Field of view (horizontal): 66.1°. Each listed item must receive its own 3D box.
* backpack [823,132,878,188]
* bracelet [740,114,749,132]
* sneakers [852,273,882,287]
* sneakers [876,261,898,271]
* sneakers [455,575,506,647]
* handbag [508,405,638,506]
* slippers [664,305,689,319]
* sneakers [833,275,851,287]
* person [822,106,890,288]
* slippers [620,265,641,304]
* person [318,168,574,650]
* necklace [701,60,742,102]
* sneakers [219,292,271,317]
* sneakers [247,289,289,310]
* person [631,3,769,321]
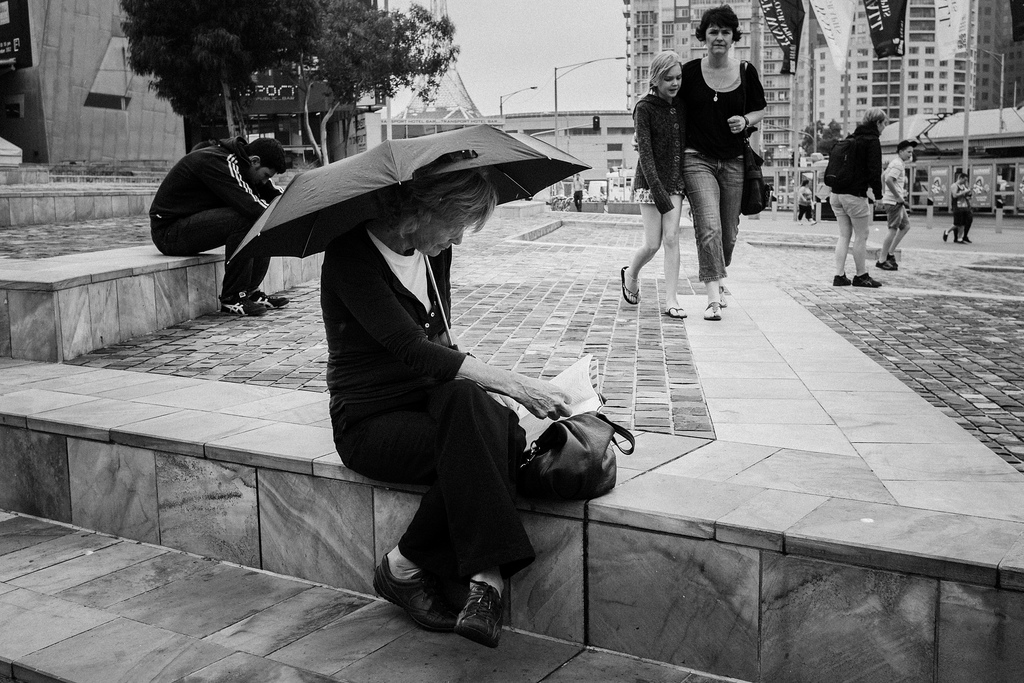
[{"bbox_3d":[4.614,-2.452,10.947,0.417,0.792,0.526,6,3,-32],"label":"backpack"},{"bbox_3d":[2.265,-2.117,7.625,0.087,0.147,0.131,-1,5,-1],"label":"bracelet"},{"bbox_3d":[4.691,-0.805,10.417,0.333,0.170,0.206,5,14,25],"label":"sneakers"},{"bbox_3d":[6.192,-1.234,12.972,0.338,0.142,0.135,2,23,10],"label":"sneakers"},{"bbox_3d":[-0.127,1.078,3.119,0.148,0.235,0.185,2,13,17],"label":"sneakers"},{"bbox_3d":[0.253,0.487,3.359,0.434,0.196,0.335,-8,6,0],"label":"handbag"},{"bbox_3d":[1.648,-0.290,7.911,0.125,0.096,0.336,-2,2,0],"label":"slippers"},{"bbox_3d":[4.421,-0.794,10.578,0.286,0.131,0.100,-2,12,-11],"label":"sneakers"},{"bbox_3d":[4.728,-1.961,10.826,0.788,2.311,1.421,4,13,24],"label":"person"},{"bbox_3d":[1.256,-0.542,8.588,0.189,0.536,0.133,-23,19,-41],"label":"slippers"},{"bbox_3d":[-0.288,0.269,3.460,0.703,1.968,1.101,-10,15,-37],"label":"person"},{"bbox_3d":[2.060,-2.580,7.760,0.397,0.405,0.294,0,10,7],"label":"necklace"},{"bbox_3d":[-2.800,-0.379,8.222,0.443,0.221,0.204,1,9,2],"label":"sneakers"},{"bbox_3d":[-2.613,-0.441,8.426,0.393,0.180,0.147,5,23,-35],"label":"sneakers"},{"bbox_3d":[2.028,-1.740,7.846,0.785,2.922,0.712,-10,14,-38],"label":"person"}]
